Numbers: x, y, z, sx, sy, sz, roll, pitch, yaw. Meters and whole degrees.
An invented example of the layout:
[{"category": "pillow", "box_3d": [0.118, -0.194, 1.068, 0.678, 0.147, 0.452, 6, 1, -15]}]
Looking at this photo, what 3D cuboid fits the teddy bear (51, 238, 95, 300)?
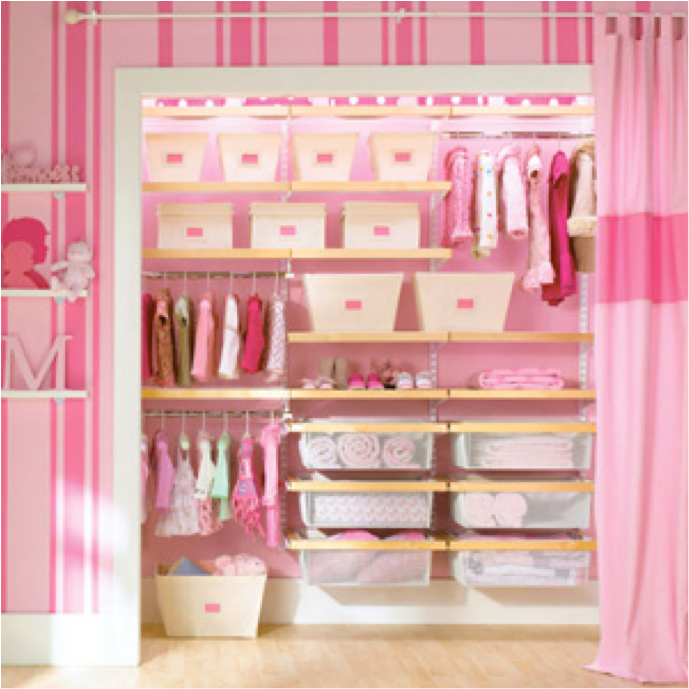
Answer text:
[{"category": "teddy bear", "box_3d": [-1.143, -0.352, 3.579, 0.207, 0.074, 0.178, -10, 25, -17]}]
